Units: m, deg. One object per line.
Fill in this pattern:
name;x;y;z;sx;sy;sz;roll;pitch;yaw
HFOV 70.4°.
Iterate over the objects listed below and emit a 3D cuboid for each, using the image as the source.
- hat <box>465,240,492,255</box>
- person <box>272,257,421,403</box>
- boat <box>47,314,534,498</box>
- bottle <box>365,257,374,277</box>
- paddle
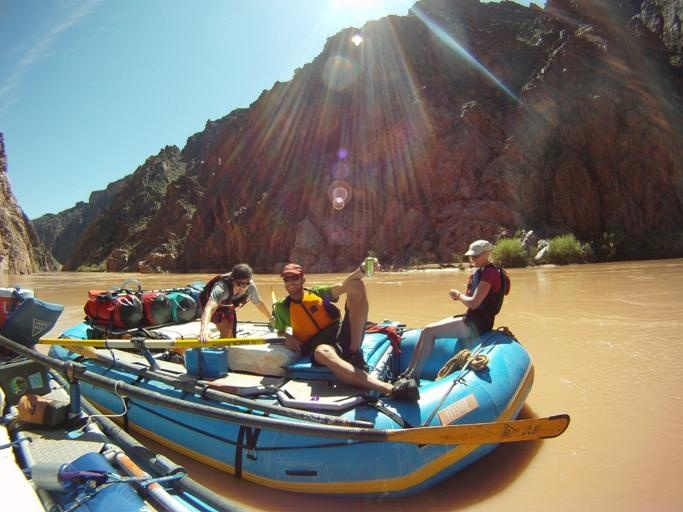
hat;1.652;-0.107;5.780;0.299;0.170;0.211;-1;-2;-18
person;0.051;0.675;5.054;1.011;1.140;1.759;-11;14;-38
boat;-0.487;1.592;4.758;3.506;0.712;2.167;0;12;23
bottle;0.294;0.105;5.200;0.088;0.216;0.148;3;8;22
paddle;-0.387;1.343;4.373;4.608;0.816;0.430;1;8;7
